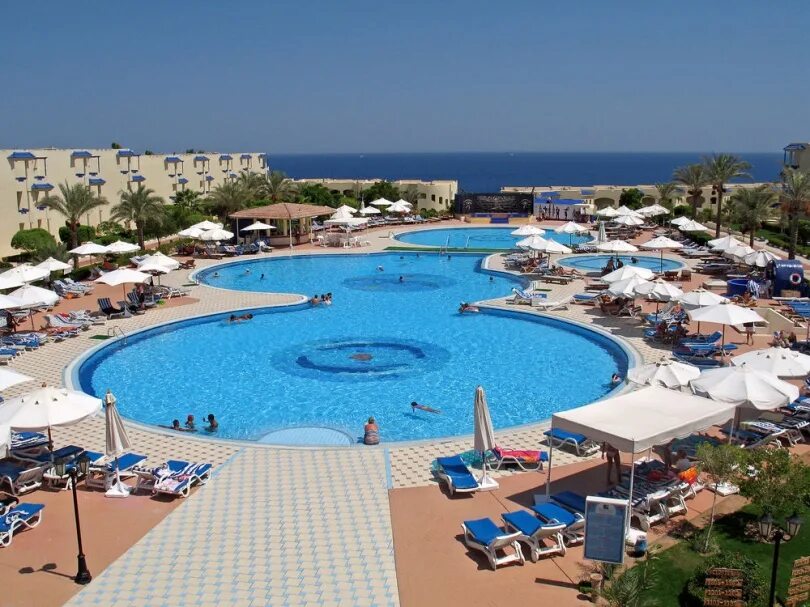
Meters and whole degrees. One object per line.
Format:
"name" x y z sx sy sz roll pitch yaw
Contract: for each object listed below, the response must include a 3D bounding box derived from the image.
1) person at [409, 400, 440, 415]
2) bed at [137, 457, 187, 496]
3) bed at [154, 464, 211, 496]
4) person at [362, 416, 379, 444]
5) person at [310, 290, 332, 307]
"person" 0.657 3.223 19.891 1.101 0.304 0.307 3 2 10
"bed" -5.556 3.938 14.839 0.622 0.357 1.021 9 24 19
"bed" -5.001 4.017 14.587 0.568 0.231 0.969 7 13 22
"person" -0.873 3.376 16.792 0.423 0.740 0.566 -4 15 -4
"person" -4.151 -0.206 31.795 1.242 0.557 0.827 -5 13 -13
